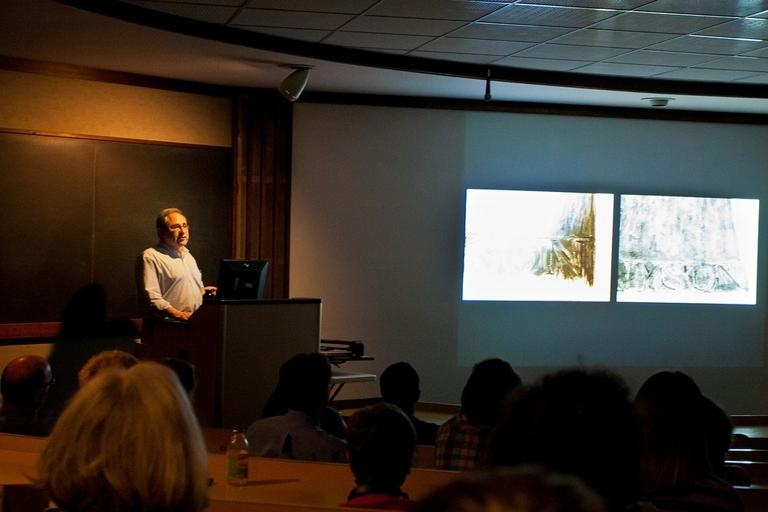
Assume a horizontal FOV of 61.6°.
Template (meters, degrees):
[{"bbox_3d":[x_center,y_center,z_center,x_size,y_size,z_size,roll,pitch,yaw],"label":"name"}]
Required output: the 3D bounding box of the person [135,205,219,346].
[{"bbox_3d":[-1.944,0.095,5.946,0.633,1.060,1.171,2,2,-8],"label":"person"}]

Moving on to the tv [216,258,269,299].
[{"bbox_3d":[-1.048,0.191,5.088,0.421,0.383,0.134,-5,4,13],"label":"tv"}]

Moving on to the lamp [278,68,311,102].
[{"bbox_3d":[-0.914,-1.760,6.641,0.287,0.335,0.466,2,2,-6],"label":"lamp"}]
